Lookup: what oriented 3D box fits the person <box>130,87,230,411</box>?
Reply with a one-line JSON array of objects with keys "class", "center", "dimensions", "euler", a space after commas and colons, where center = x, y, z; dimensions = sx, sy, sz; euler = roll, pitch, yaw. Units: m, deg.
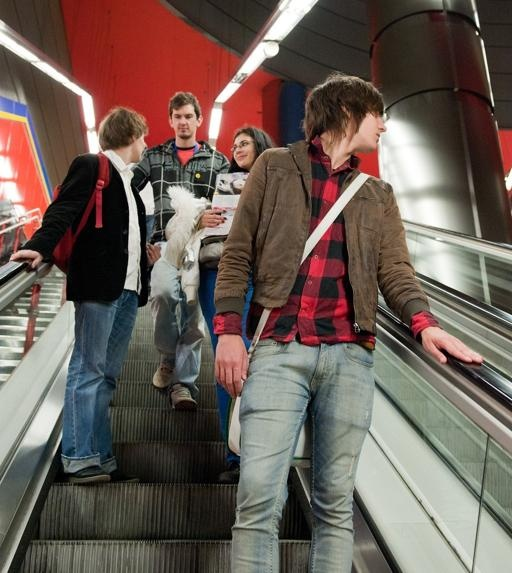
[{"class": "person", "center": [-0.650, -0.348, 2.937], "dimensions": [0.975, 2.360, 0.777], "euler": [2, -7, -25]}]

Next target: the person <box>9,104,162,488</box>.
[{"class": "person", "center": [-0.746, -0.074, 1.957], "dimensions": [0.448, 1.811, 0.992], "euler": [2, 7, -8]}]

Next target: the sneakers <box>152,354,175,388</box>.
[{"class": "sneakers", "center": [-0.664, 0.630, 2.845], "dimensions": [0.113, 0.297, 0.111], "euler": [16, -34, -15]}]

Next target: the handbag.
[{"class": "handbag", "center": [0.032, 0.392, 1.098], "dimensions": [0.212, 0.175, 0.305], "euler": [-1, -23, -2]}]

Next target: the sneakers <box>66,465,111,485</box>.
[{"class": "sneakers", "center": [-0.703, 0.781, 1.696], "dimensions": [0.185, 0.092, 0.075], "euler": [-4, -11, 12]}]
